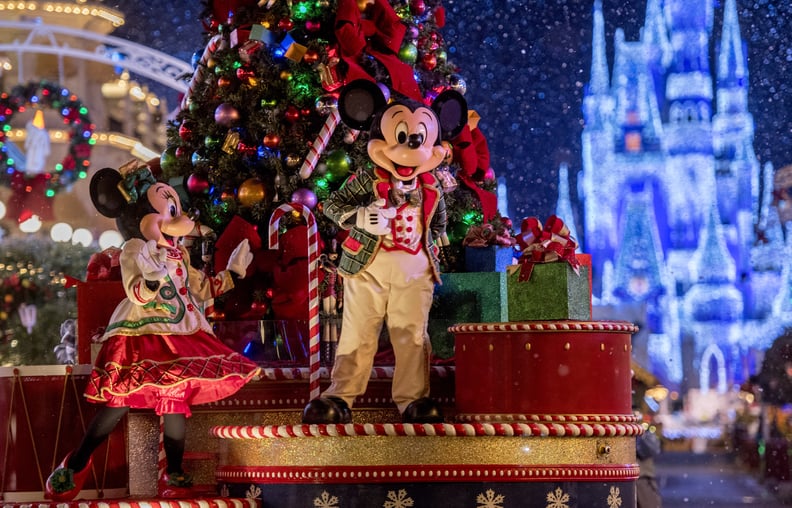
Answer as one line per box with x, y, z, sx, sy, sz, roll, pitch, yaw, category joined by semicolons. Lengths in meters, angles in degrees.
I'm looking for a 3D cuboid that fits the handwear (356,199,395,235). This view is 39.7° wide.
-0.206;-0.362;10.495;0.372;0.342;0.111;1;-5;-3;handwear

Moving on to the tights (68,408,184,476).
-2.647;1.726;10.348;0.820;0.759;0.247;5;10;-15;tights

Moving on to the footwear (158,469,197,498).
-2.127;2.220;10.628;0.203;0.209;0.326;7;-16;-29;footwear

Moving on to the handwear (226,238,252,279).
-1.590;0.044;10.991;0.240;0.384;0.167;15;-11;-6;handwear

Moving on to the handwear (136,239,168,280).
-2.393;0.051;10.582;0.226;0.431;0.327;-18;-16;41;handwear

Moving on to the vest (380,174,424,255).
0.080;-0.364;10.549;0.412;0.669;0.201;4;4;-8;vest

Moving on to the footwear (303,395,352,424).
-0.664;1.472;10.386;0.305;0.143;0.302;-1;0;-21;footwear
